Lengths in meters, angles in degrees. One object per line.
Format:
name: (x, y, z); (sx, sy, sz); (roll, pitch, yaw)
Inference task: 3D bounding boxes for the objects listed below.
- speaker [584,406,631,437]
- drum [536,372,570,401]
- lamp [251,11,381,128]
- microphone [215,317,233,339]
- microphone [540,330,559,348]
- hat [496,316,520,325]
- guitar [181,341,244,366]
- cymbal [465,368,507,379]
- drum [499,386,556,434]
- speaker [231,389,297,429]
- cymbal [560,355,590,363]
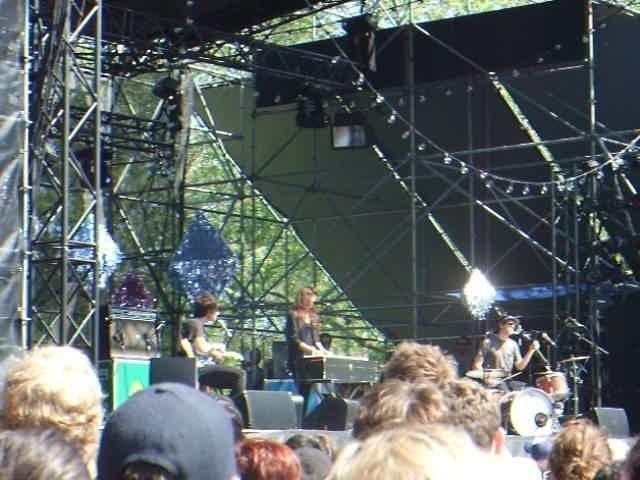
speaker: (3.994, 2.502, 23.387); (0.560, 0.385, 0.710); (2, -6, 7)
drum: (3.399, 2.109, 24.583); (0.508, 0.417, 0.441); (0, -1, -4)
lamp: (0.076, -2.811, 29.477); (2.487, 1.491, 0.841); (-2, 22, 3)
microphone: (-1.665, 1.568, 29.976); (0.150, 0.450, 0.129); (-35, 13, 14)
microphone: (3.537, 1.530, 25.955); (0.147, 0.166, 0.491); (-41, -23, 13)
hat: (2.869, 1.228, 25.789); (0.288, 0.100, 0.352); (2, -11, -8)
guitar: (-1.532, 1.596, 23.723); (0.848, 0.367, 1.532); (3, -5, 0)
cymbal: (2.442, 1.947, 24.889); (0.570, 0.124, 0.405); (2, -5, 7)
drum: (2.911, 2.372, 23.576); (0.815, 0.650, 0.489); (4, -6, -4)
speaker: (-0.639, 2.255, 22.622); (0.719, 0.502, 0.281); (7, -7, -31)
cymbal: (3.990, 1.851, 26.421); (0.226, 0.045, 0.219); (-15, 8, -28)
